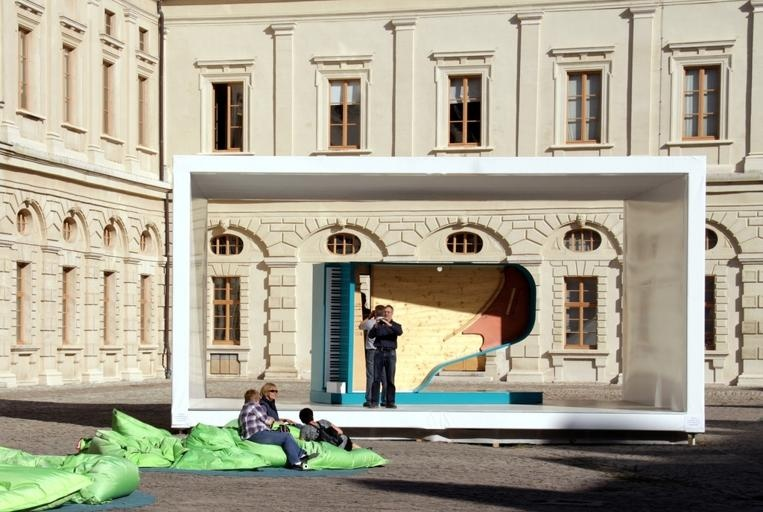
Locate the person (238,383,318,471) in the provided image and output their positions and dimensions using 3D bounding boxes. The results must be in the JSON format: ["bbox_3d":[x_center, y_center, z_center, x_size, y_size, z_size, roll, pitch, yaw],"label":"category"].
[{"bbox_3d":[-1.935,3.095,23.760,1.516,0.971,0.669,1,-1,43],"label":"person"}]

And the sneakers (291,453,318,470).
[{"bbox_3d":[-1.327,3.635,23.395,0.577,0.190,0.180,-13,4,-17],"label":"sneakers"}]

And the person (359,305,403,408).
[{"bbox_3d":[0.028,2.024,26.770,0.651,1.326,0.664,2,-1,-16],"label":"person"}]

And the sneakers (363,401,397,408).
[{"bbox_3d":[-0.008,2.988,26.643,0.669,0.212,0.202,-2,-5,5],"label":"sneakers"}]
